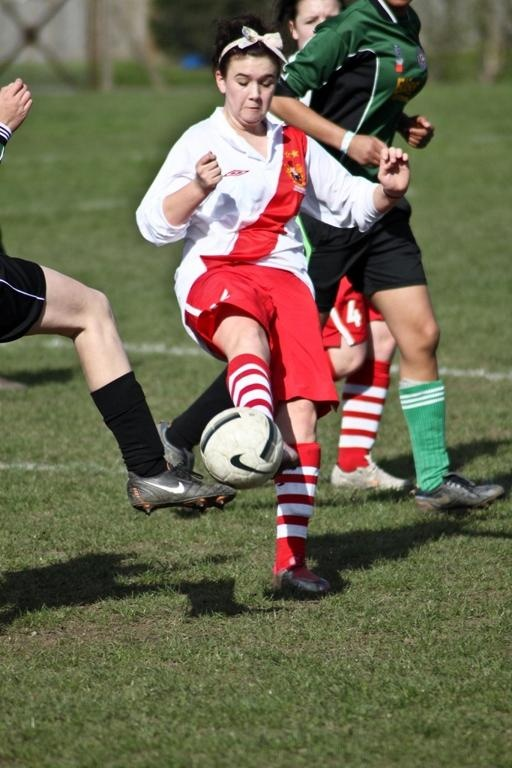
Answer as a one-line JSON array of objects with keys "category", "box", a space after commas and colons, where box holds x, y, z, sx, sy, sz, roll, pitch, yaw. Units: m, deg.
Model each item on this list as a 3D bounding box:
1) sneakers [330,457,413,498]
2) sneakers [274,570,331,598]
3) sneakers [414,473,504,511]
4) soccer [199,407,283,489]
[{"category": "sneakers", "box": [0.541, 0.463, 4.174, 0.442, 0.161, 0.135, 0, 2, -1]}, {"category": "sneakers", "box": [0.160, 0.660, 2.912, 0.169, 0.065, 0.087, -5, -5, 39]}, {"category": "sneakers", "box": [0.822, 0.445, 3.701, 0.413, 0.164, 0.136, -4, 9, 7]}, {"category": "soccer", "box": [-0.017, 0.171, 2.516, 0.248, 0.217, 0.230, -22, -17, 0]}]
